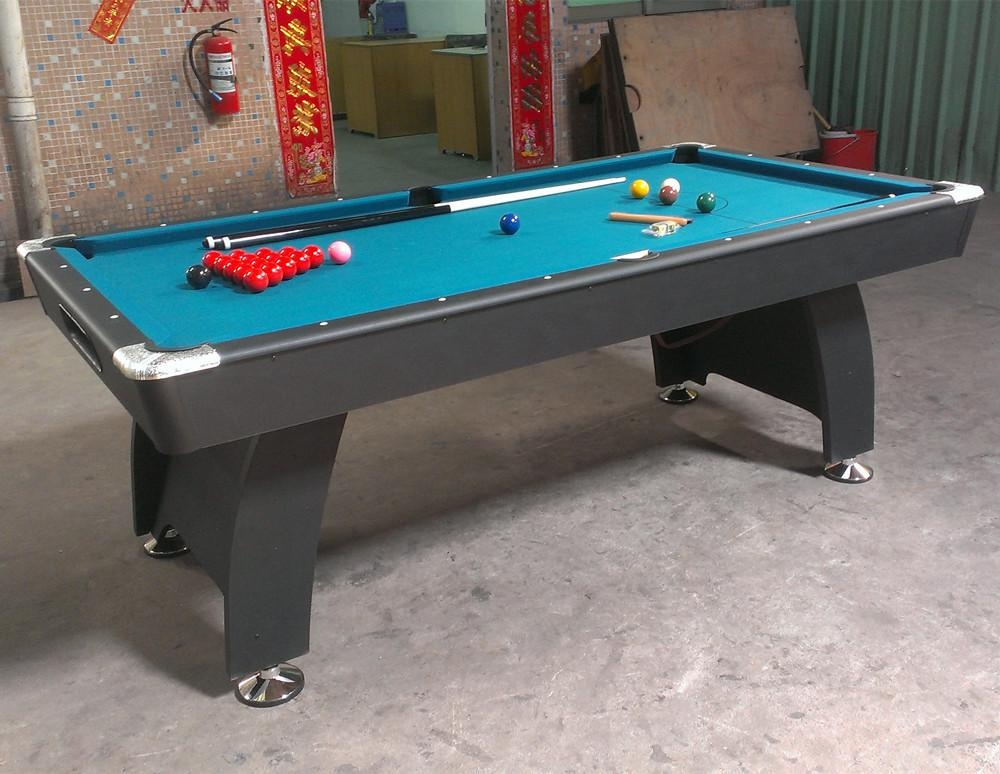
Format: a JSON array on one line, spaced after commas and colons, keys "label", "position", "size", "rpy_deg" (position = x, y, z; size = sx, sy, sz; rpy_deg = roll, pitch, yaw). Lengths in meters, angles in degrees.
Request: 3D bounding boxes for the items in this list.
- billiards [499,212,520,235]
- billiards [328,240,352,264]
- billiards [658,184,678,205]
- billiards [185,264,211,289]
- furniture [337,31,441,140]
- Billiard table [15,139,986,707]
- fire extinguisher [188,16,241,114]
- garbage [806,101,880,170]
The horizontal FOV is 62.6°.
[{"label": "billiards", "position": [0.032, -0.508, 2.544], "size": [0.074, 0.066, 0.067], "rpy_deg": [3, 15, 3]}, {"label": "billiards", "position": [-0.451, -0.375, 2.360], "size": [0.073, 0.067, 0.066], "rpy_deg": [6, 41, -20]}, {"label": "billiards", "position": [0.563, -0.642, 2.762], "size": [0.065, 0.070, 0.058], "rpy_deg": [-4, 63, -10]}, {"label": "billiards", "position": [-0.786, -0.286, 2.148], "size": [0.072, 0.061, 0.068], "rpy_deg": [-1, -6, -1]}, {"label": "furniture", "position": [-1.014, -3.297, 9.166], "size": [1.345, 0.958, 0.747], "rpy_deg": [-18, 29, -31]}, {"label": "Billiard table", "position": [0.066, -0.108, 2.735], "size": [2.604, 0.995, 1.335], "rpy_deg": [-17, 29, -24]}, {"label": "fire extinguisher", "position": [-1.646, -1.861, 4.832], "size": [0.334, 0.530, 0.216], "rpy_deg": [-18, 31, -24]}, {"label": "garbage", "position": [2.614, -1.908, 6.336], "size": [0.535, 0.480, 0.364], "rpy_deg": [7, 32, 16]}]
